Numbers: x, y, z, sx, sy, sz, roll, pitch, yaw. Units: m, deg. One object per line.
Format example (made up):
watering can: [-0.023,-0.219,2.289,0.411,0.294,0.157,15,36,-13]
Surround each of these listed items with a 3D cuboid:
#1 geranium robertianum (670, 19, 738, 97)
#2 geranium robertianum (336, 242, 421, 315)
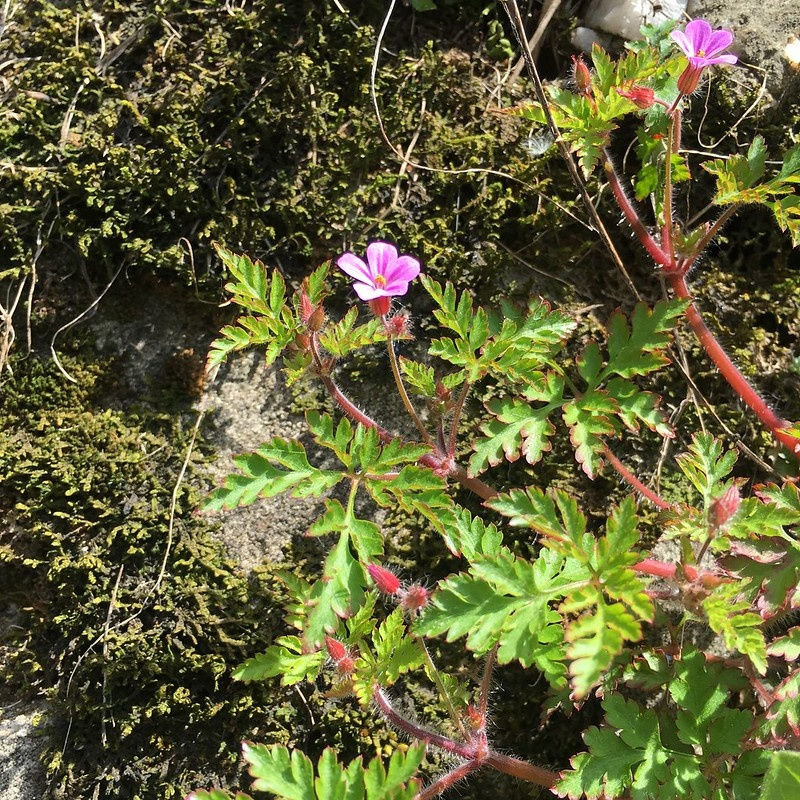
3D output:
geranium robertianum: [1.148,-1.325,3.463,0.246,0.244,0.243,4,92,-5]
geranium robertianum: [-0.079,-0.465,3.166,0.254,0.154,0.227,-39,76,-11]
